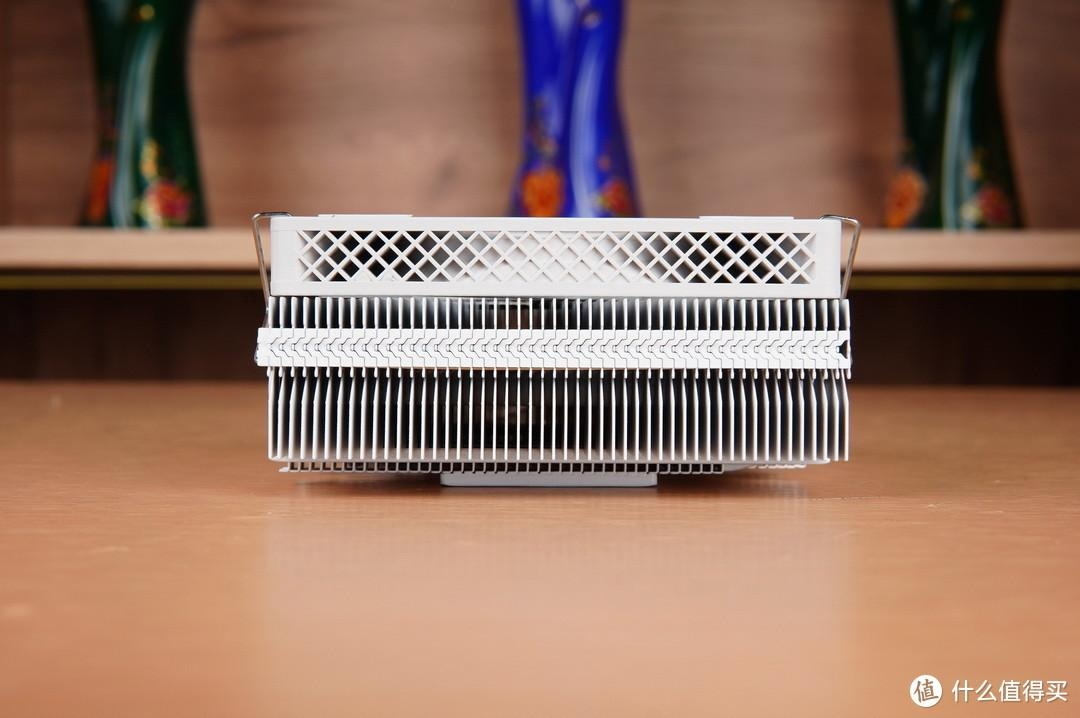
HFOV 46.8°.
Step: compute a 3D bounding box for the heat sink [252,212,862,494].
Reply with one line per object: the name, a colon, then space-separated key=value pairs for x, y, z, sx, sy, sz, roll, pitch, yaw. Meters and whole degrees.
heat sink: x=0.022 y=-0.014 z=1.486 sx=0.707 sy=0.330 sz=0.194 roll=-2 pitch=5 yaw=0
